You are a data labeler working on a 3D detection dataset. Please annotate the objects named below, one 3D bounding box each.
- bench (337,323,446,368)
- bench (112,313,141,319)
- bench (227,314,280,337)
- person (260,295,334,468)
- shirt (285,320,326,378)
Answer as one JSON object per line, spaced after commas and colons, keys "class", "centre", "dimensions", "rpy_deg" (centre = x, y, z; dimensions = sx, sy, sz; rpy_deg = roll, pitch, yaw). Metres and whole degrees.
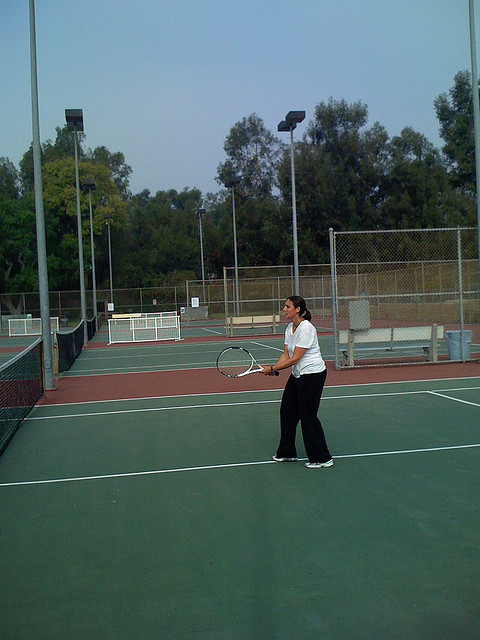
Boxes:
{"class": "bench", "centre": [3.866, 0.548, 14.321], "dimensions": [2.252, 1.022, 3.425], "rpy_deg": [-3, 2, 27]}
{"class": "bench", "centre": [-7.423, -0.309, 36.680], "dimensions": [1.249, 0.240, 3.731], "rpy_deg": [-5, 2, -17]}
{"class": "bench", "centre": [0.557, 0.206, 25.921], "dimensions": [2.219, 0.978, 2.187], "rpy_deg": [-5, 2, -2]}
{"class": "person", "centre": [0.589, 0.593, 5.621], "dimensions": [0.630, 1.699, 0.757], "rpy_deg": [-2, 2, 2]}
{"class": "shirt", "centre": [0.651, 0.332, 5.660], "dimensions": [0.331, 0.762, 0.642], "rpy_deg": [-1, -15, -5]}
